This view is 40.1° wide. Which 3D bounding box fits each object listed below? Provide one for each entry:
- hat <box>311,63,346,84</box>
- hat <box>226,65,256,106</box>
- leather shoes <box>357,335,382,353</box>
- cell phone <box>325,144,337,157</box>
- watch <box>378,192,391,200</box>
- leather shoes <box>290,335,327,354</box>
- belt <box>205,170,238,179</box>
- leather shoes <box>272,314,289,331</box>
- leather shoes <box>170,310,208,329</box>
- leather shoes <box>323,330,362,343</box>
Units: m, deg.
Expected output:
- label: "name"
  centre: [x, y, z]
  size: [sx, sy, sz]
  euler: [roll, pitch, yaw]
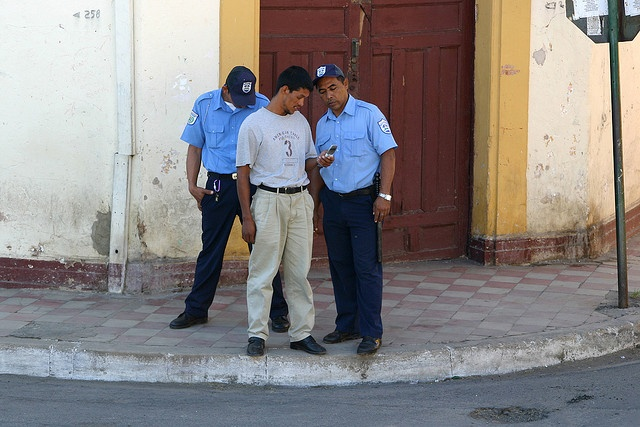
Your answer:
- label: "hat"
  centre: [0.063, -1.333, 8.265]
  size: [0.245, 0.136, 0.180]
  euler: [6, 5, 7]
- label: "hat"
  centre: [-0.749, -1.264, 8.602]
  size: [0.308, 0.223, 0.438]
  euler: [8, 42, -12]
- label: "leather shoes"
  centre: [0.469, 1.237, 8.333]
  size: [0.101, 0.115, 0.251]
  euler: [-2, 1, 28]
- label: "cell phone"
  centre: [0.121, -0.584, 8.095]
  size: [0.120, 0.104, 0.165]
  euler: [0, 6, 28]
- label: "watch"
  centre: [0.612, -0.151, 8.324]
  size: [0.091, 0.060, 0.087]
  euler: [17, -1, -22]
- label: "leather shoes"
  centre: [-0.109, 1.236, 8.357]
  size: [0.318, 0.144, 0.149]
  euler: [2, 4, 24]
- label: "belt"
  centre: [-0.973, -0.386, 8.704]
  size: [0.360, 0.087, 0.079]
  euler: [1, 6, 36]
- label: "leather shoes"
  centre: [-0.407, 1.095, 8.844]
  size: [0.183, 0.161, 0.398]
  euler: [0, -3, -1]
- label: "leather shoes"
  centre: [-1.341, 1.077, 8.938]
  size: [0.397, 0.177, 0.143]
  euler: [-2, 6, -31]
- label: "leather shoes"
  centre: [0.214, 1.169, 8.572]
  size: [0.355, 0.163, 0.129]
  euler: [1, 2, -22]
